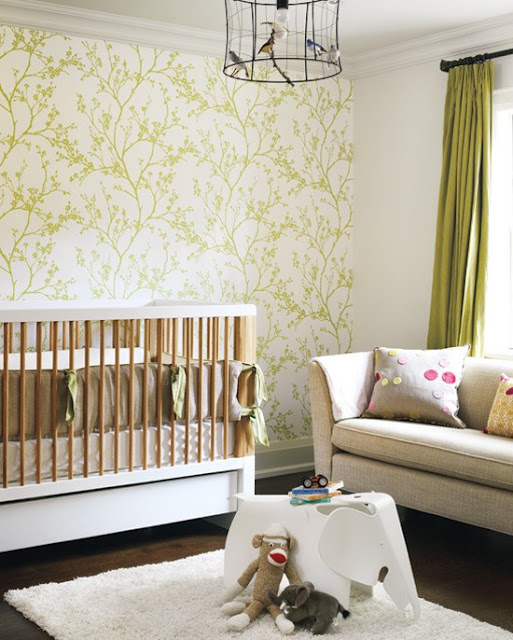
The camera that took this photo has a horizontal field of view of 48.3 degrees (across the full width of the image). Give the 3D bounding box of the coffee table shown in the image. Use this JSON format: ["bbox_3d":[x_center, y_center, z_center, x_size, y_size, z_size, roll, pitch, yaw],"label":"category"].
[{"bbox_3d":[0.195,0.666,1.643,0.550,0.334,0.213,-3,-7,32],"label":"coffee table"}]

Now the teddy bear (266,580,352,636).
[{"bbox_3d":[0.133,0.738,1.514,0.170,0.098,0.102,10,-14,26],"label":"teddy bear"}]

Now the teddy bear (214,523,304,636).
[{"bbox_3d":[0.021,0.709,1.598,0.305,0.315,0.209,3,-8,7],"label":"teddy bear"}]
